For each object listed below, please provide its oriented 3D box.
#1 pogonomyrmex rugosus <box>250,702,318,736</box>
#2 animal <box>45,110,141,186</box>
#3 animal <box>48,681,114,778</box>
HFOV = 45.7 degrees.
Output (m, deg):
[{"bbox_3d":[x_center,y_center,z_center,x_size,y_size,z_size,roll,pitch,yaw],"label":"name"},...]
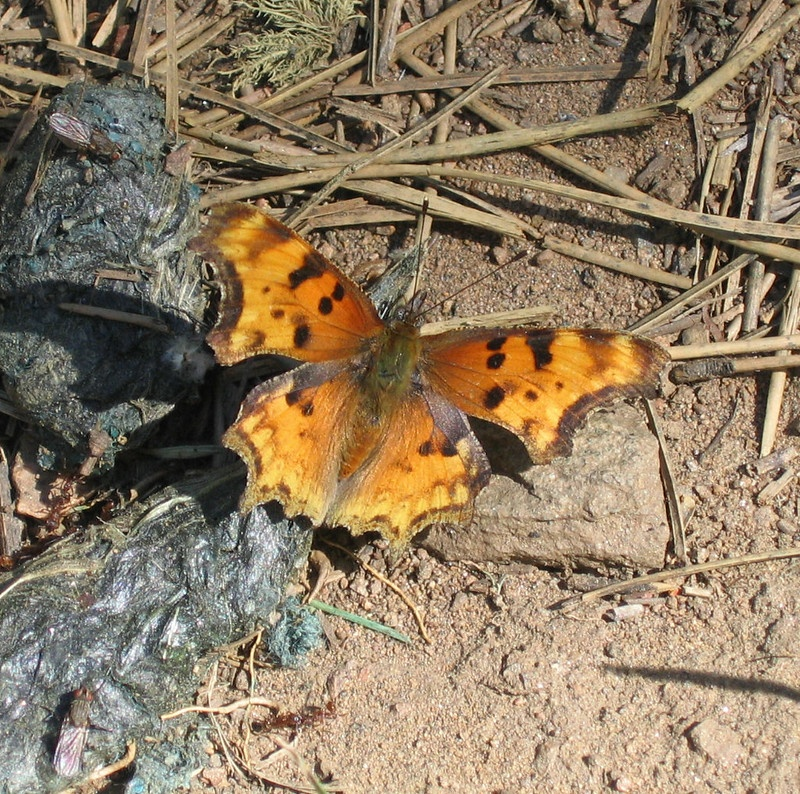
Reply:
[{"bbox_3d":[-0.474,1.378,4.115,0.367,0.109,0.099,-12,-46,7],"label":"pogonomyrmex rugosus"},{"bbox_3d":[-1.249,-0.982,3.779,0.377,0.110,0.271,31,21,-5],"label":"animal"},{"bbox_3d":[-1.239,1.262,3.670,0.270,0.295,0.123,11,6,-7],"label":"animal"}]
